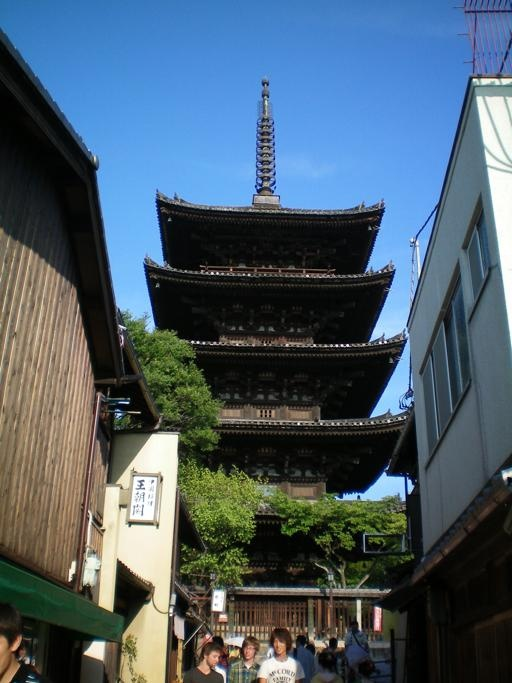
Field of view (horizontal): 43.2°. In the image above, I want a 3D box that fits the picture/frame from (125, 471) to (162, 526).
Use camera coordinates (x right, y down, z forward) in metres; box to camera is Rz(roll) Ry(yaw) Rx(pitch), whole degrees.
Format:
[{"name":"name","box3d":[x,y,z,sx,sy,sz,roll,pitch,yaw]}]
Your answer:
[{"name":"picture/frame","box3d":[-1.760,2.481,10.168,0.482,0.751,0.492,6,-24,-10]}]
